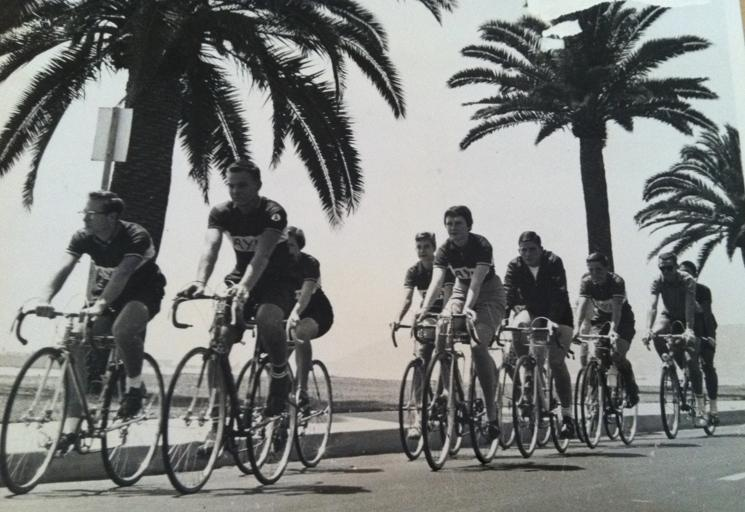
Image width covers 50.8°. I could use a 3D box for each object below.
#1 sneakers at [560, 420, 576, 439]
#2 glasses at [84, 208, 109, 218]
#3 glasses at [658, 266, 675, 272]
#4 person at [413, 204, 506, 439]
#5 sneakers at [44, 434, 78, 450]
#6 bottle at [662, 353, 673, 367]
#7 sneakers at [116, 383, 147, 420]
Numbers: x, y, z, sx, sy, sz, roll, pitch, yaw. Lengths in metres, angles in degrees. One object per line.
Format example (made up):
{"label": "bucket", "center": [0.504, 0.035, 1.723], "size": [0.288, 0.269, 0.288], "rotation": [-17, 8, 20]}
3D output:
{"label": "sneakers", "center": [2.520, 2.262, 10.224], "size": [0.215, 0.217, 0.374], "rotation": [-5, -10, 18]}
{"label": "glasses", "center": [-2.926, -0.449, 8.217], "size": [0.291, 0.094, 0.122], "rotation": [6, 4, 24]}
{"label": "glasses", "center": [4.468, 0.196, 11.973], "size": [0.223, 0.071, 0.113], "rotation": [5, 3, 12]}
{"label": "person", "center": [1.142, 0.794, 9.594], "size": [0.974, 2.800, 0.972], "rotation": [4, 3, 9]}
{"label": "sneakers", "center": [-3.046, 1.806, 7.690], "size": [0.266, 0.186, 0.143], "rotation": [1, -38, 12]}
{"label": "bottle", "center": [4.445, 1.561, 11.914], "size": [0.125, 0.196, 0.062], "rotation": [-15, 0, 28]}
{"label": "sneakers", "center": [-2.453, 1.484, 8.009], "size": [0.205, 0.335, 0.094], "rotation": [29, -22, -36]}
